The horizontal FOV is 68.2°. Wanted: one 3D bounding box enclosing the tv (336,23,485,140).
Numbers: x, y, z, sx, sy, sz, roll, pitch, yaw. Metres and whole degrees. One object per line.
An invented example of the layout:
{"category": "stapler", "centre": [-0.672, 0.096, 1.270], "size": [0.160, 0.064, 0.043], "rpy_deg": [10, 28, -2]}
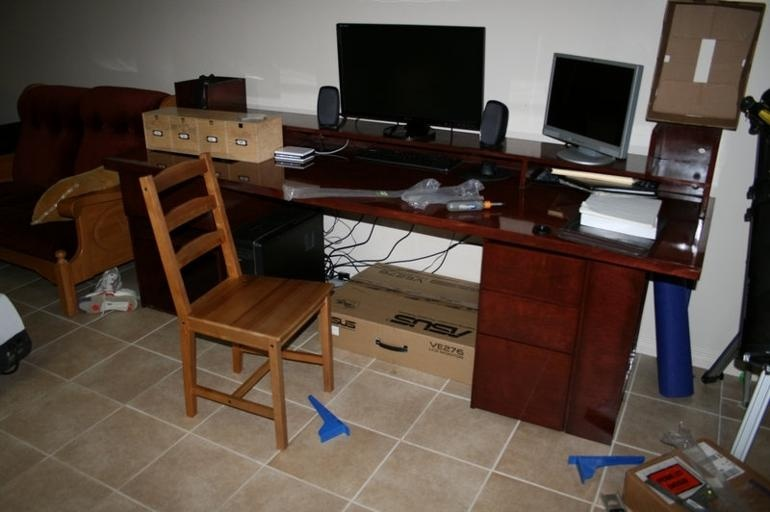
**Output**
{"category": "tv", "centre": [0.157, -0.950, 3.039], "size": [0.751, 0.434, 0.069], "rpy_deg": [8, 30, 18]}

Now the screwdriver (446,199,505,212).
{"category": "screwdriver", "centre": [0.419, -0.237, 2.691], "size": [0.275, 0.052, 0.055], "rpy_deg": [1, -13, -10]}

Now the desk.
{"category": "desk", "centre": [0.081, -0.065, 3.247], "size": [2.958, 1.301, 0.971], "rpy_deg": [12, 28, 22]}

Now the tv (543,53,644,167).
{"category": "tv", "centre": [1.038, -0.718, 2.788], "size": [0.256, 0.431, 0.465], "rpy_deg": [-29, 38, -34]}

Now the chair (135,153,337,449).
{"category": "chair", "centre": [-0.679, 0.198, 2.755], "size": [0.848, 1.185, 0.689], "rpy_deg": [5, 23, 2]}

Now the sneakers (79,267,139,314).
{"category": "sneakers", "centre": [-1.811, 0.223, 3.553], "size": [0.516, 0.170, 0.225], "rpy_deg": [-7, 37, 3]}

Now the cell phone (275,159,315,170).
{"category": "cell phone", "centre": [-0.516, -0.508, 3.181], "size": [0.108, 0.024, 0.109], "rpy_deg": [11, 19, 32]}

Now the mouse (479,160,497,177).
{"category": "mouse", "centre": [0.550, -0.460, 3.010], "size": [0.082, 0.074, 0.081], "rpy_deg": [6, 11, 28]}
